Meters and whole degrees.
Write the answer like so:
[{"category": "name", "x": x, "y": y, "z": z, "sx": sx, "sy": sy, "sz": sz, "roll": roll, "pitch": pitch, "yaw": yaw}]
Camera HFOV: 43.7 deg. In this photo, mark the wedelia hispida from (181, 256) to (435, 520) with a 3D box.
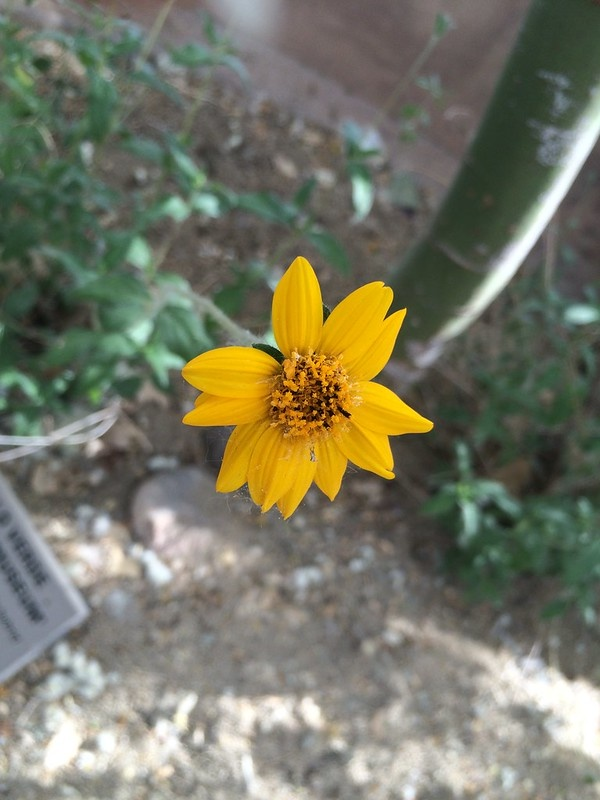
[{"category": "wedelia hispida", "x": 0.016, "y": -0.002, "z": 0.675, "sx": 0.190, "sy": 0.204, "sz": 0.163, "roll": 35, "pitch": 46, "yaw": 10}]
